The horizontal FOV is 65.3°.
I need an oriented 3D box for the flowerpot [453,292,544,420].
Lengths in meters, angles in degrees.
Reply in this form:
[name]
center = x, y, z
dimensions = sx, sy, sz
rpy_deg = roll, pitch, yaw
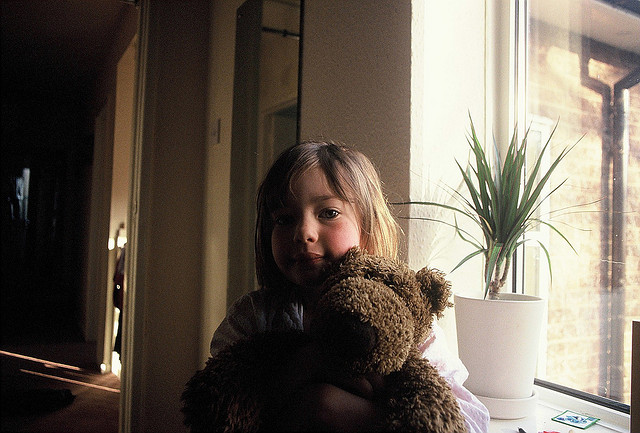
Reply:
[flowerpot]
center = 0.508, 0.419, 1.670
dimensions = 0.323, 0.386, 0.342
rpy_deg = 0, 1, -16
